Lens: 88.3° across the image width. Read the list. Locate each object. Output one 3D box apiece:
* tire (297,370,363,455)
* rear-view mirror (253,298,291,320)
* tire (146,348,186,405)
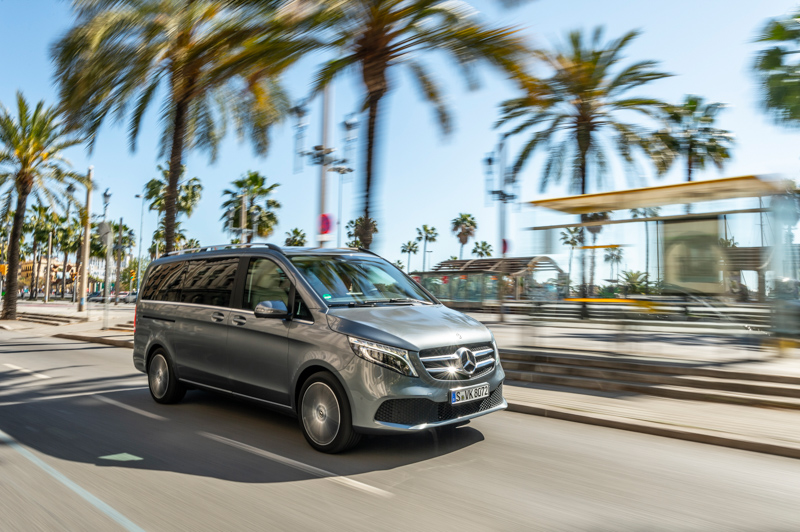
[{"bbox_3d":[-0.825,1.743,4.787,0.809,0.982,0.247,-3,-5,35],"label":"tire"},{"bbox_3d":[-1.604,0.562,5.188,0.424,0.232,0.274,0,-4,-2],"label":"rear-view mirror"},{"bbox_3d":[-3.962,1.892,7.051,1.047,0.906,0.364,-9,-10,41],"label":"tire"}]
